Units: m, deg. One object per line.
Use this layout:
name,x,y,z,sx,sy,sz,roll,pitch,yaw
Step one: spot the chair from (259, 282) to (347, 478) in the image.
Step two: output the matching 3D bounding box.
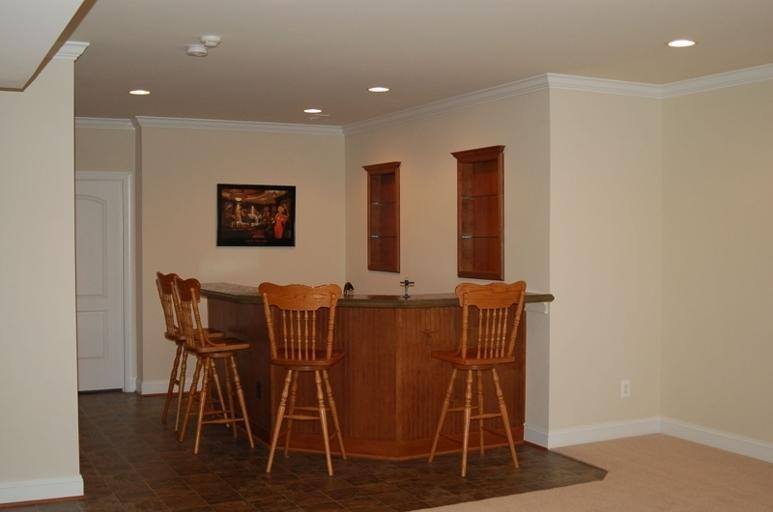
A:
chair,-0.712,0.989,5.065,0.743,1.566,0.766,0,6,-5

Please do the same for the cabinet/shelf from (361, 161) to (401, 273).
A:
cabinet/shelf,-0.043,-0.479,7.521,0.202,1.385,0.710,-3,7,-27

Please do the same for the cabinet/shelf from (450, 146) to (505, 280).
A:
cabinet/shelf,0.974,-0.436,6.204,0.265,1.382,0.721,-2,7,-22
